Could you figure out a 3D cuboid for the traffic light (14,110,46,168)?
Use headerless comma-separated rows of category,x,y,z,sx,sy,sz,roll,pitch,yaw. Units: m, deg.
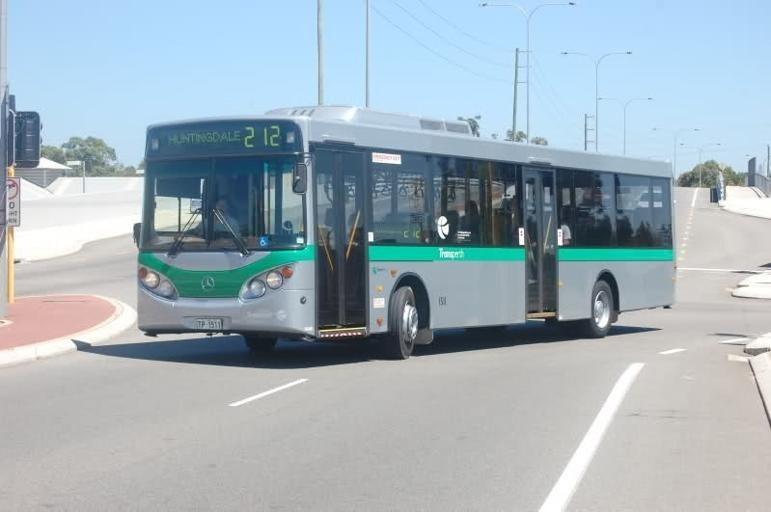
traffic light,-9.019,-2.914,17.793,0.927,1.396,0.785,1,4,14
